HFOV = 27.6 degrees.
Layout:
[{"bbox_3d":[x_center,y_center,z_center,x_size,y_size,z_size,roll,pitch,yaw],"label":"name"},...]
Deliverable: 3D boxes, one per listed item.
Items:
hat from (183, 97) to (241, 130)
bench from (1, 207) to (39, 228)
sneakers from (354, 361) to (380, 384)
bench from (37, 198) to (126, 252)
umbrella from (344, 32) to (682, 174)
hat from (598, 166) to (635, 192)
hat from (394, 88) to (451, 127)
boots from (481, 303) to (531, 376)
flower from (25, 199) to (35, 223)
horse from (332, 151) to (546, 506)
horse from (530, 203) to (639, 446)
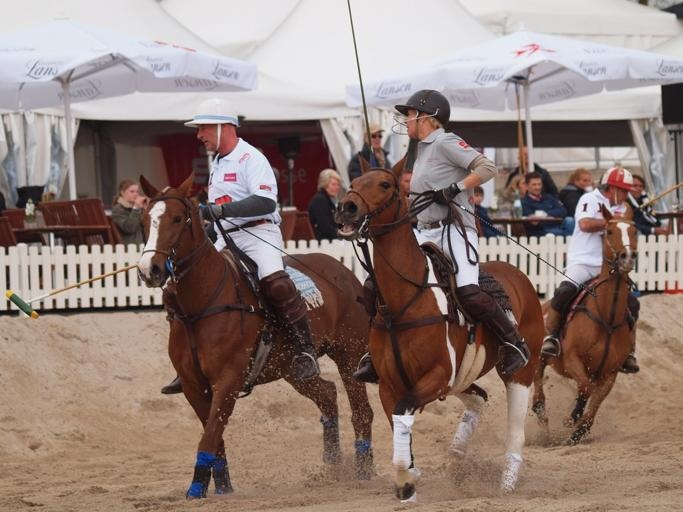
[{"bbox_3d":[-1.581,-1.812,17.445,0.496,0.261,0.401,3,-5,-16],"label":"hat"},{"bbox_3d":[-4.996,-0.555,21.710,0.406,0.450,0.409,3,10,25],"label":"bench"},{"bbox_3d":[0.315,1.475,17.138,0.156,0.206,0.468,-1,-28,15],"label":"sneakers"},{"bbox_3d":[-4.090,-0.488,21.611,1.170,0.526,1.163,-3,2,8],"label":"bench"},{"bbox_3d":[2.894,-2.663,23.857,2.983,1.380,3.418,2,-6,-36],"label":"umbrella"},{"bbox_3d":[3.839,-1.029,19.328,0.403,0.267,0.307,10,9,-15],"label":"hat"},{"bbox_3d":[0.998,-1.787,16.889,0.571,0.361,0.416,20,-10,6],"label":"hat"},{"bbox_3d":[2.083,1.036,17.085,0.348,1.178,0.429,-10,29,20],"label":"boots"},{"bbox_3d":[-4.829,-0.673,21.586,0.163,0.270,0.466,-4,2,-13],"label":"flower"},{"bbox_3d":[1.088,0.853,18.543,3.861,4.121,4.016,-4,2,-24],"label":"horse"},{"bbox_3d":[3.455,0.985,19.273,0.949,3.247,1.787,-4,2,-31],"label":"horse"}]
